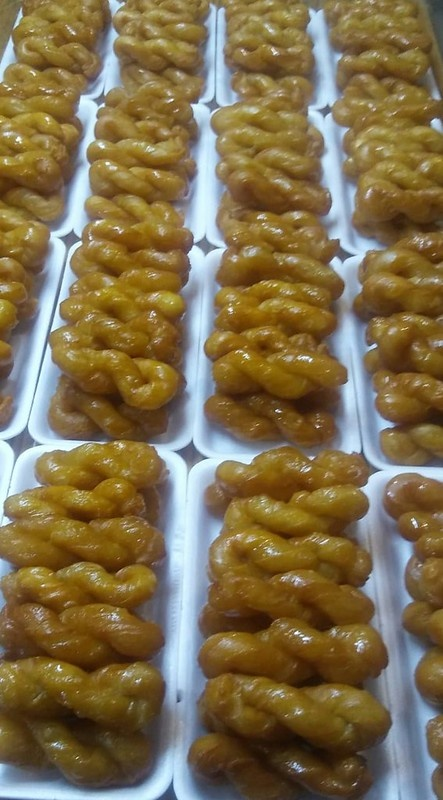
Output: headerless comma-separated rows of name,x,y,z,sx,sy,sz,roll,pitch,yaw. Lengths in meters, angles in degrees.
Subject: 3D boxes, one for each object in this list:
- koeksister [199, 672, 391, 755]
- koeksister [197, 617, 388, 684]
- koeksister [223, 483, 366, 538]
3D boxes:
koeksister,0.126,0.517,1.350,0.324,0.127,0.110,8,34,-6
koeksister,0.132,0.435,1.341,0.181,0.175,0.062,6,68,-22
koeksister,0.150,0.212,1.488,0.218,0.116,0.072,-6,57,-4
